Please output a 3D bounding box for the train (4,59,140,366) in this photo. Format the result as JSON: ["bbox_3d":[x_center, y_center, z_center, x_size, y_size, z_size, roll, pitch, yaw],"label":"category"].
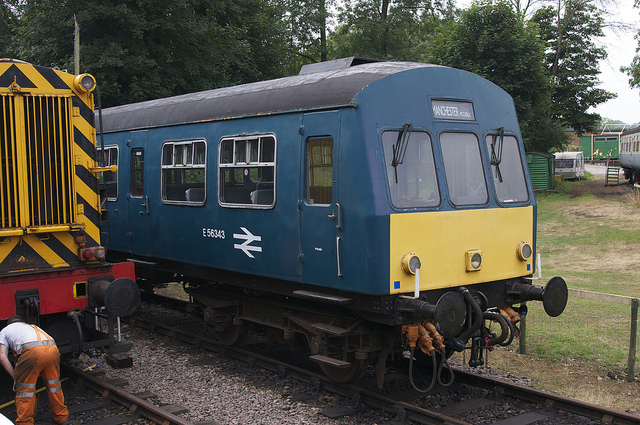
[{"bbox_3d":[-4.115,0.027,8.225,1.689,4.861,1.130,-3,7,-20],"label":"train"}]

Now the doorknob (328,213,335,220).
[{"bbox_3d":[0.183,0.061,8.235,0.026,0.099,0.143,-6,8,-38],"label":"doorknob"}]
